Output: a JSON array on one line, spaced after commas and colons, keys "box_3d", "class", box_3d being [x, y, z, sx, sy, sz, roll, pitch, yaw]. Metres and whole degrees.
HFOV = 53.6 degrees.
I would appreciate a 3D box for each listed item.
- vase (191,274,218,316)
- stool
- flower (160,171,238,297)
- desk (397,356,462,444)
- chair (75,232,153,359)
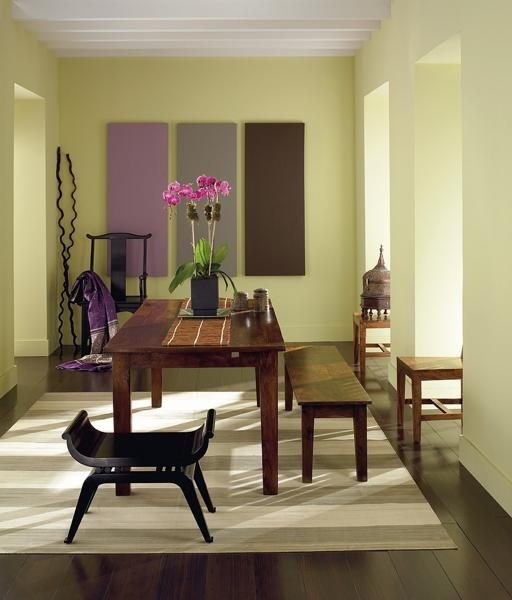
[{"box_3d": [-0.277, -0.021, 2.772, 0.161, 0.316, 0.182, 1, 9, 0], "class": "vase"}, {"box_3d": [-0.409, 0.622, 1.846, 0.535, 0.476, 0.405, 0, 4, 0], "class": "stool"}, {"box_3d": [-0.302, -0.350, 2.763, 0.325, 0.644, 0.342, -5, -1, 6], "class": "flower"}, {"box_3d": [1.031, 0.498, 3.017, 0.368, 0.520, 0.440, -3, 6, -13], "class": "desk"}, {"box_3d": [-1.442, -0.026, 5.190, 0.734, 1.400, 0.767, 0, 2, -37], "class": "chair"}]
